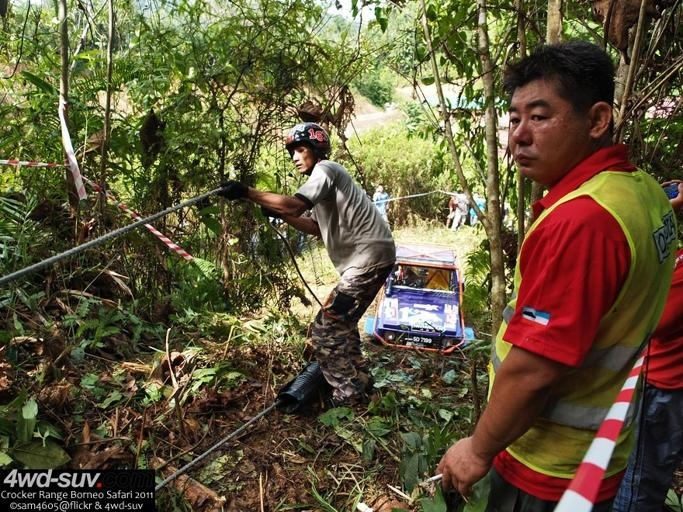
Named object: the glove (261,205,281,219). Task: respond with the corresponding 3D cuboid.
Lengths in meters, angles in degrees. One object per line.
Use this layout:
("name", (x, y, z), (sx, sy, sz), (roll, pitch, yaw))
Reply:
("glove", (-0.525, -0.313, 3.775), (0.106, 0.046, 0.138), (28, -11, -21))

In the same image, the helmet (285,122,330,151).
("helmet", (-0.278, -0.964, 4.252), (0.301, 0.229, 0.221), (-19, 21, -14))

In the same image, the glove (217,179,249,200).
("glove", (-0.746, -0.458, 3.588), (0.175, 0.053, 0.125), (-6, 45, -15))

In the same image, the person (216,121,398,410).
("person", (-0.161, 0.060, 4.217), (1.262, 2.191, 0.740), (1, 15, -12))
